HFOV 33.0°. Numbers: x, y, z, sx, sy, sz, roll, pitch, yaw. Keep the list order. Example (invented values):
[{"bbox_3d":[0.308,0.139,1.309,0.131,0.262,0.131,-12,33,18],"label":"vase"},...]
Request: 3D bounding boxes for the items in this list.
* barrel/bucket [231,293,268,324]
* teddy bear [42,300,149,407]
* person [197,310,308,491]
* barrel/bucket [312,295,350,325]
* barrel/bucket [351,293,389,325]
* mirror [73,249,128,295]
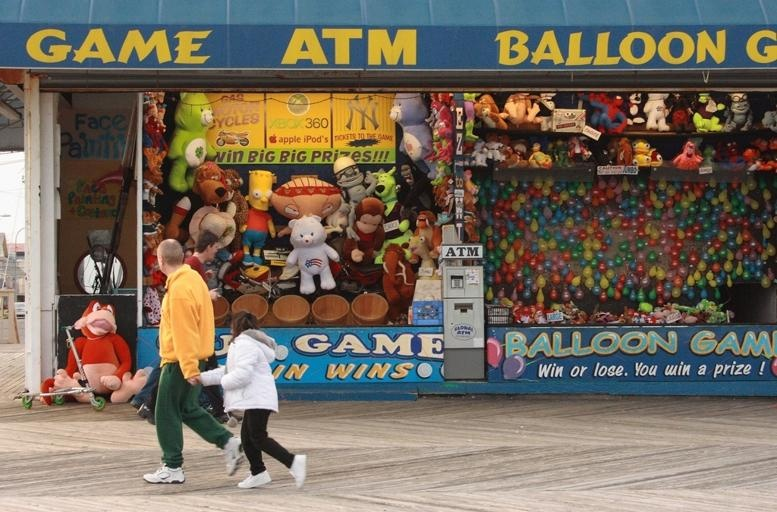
[{"bbox_3d":[-1.822,0.629,17.207,0.431,0.420,0.190,-17,-23,-14],"label":"barrel/bucket"},{"bbox_3d":[-3.571,1.175,16.059,1.156,1.268,0.389,0,-2,-14],"label":"teddy bear"},{"bbox_3d":[-1.405,1.459,13.584,1.094,1.839,0.710,0,0,23],"label":"person"},{"bbox_3d":[-0.764,0.726,17.518,0.390,0.391,0.248,23,-38,20],"label":"barrel/bucket"},{"bbox_3d":[-0.241,0.695,17.436,0.498,0.399,0.295,0,-2,-6],"label":"barrel/bucket"},{"bbox_3d":[-3.825,0.197,17.535,0.708,0.592,1.864,0,-1,-14],"label":"mirror"}]
